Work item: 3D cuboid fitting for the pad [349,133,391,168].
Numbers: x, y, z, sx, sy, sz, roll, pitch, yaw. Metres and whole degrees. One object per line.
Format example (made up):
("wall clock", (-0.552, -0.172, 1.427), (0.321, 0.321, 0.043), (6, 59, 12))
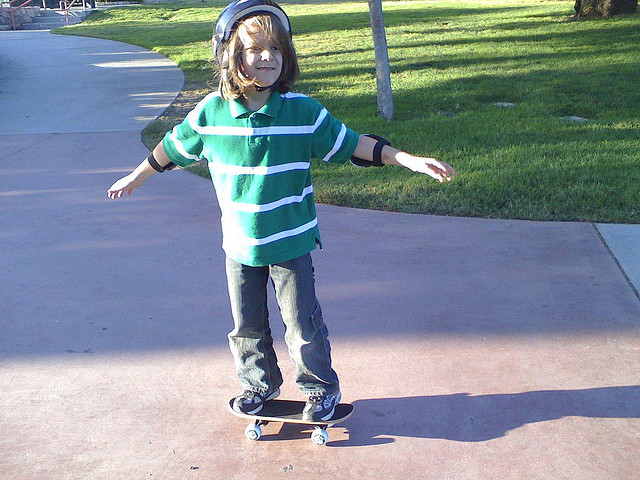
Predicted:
("pad", (0.321, -0.520, 3.810), (0.232, 0.174, 0.112), (4, 23, -30))

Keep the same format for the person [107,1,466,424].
("person", (-0.254, -0.106, 3.756), (1.398, 2.358, 0.770), (-1, 24, 7))

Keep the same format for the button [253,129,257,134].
("button", (-0.349, -0.599, 3.608), (0.029, 0.026, 0.007), (5, 3, 11))

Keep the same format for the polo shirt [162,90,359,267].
("polo shirt", (-0.314, -0.356, 3.723), (1.090, 0.955, 0.453), (-3, 24, 3))
